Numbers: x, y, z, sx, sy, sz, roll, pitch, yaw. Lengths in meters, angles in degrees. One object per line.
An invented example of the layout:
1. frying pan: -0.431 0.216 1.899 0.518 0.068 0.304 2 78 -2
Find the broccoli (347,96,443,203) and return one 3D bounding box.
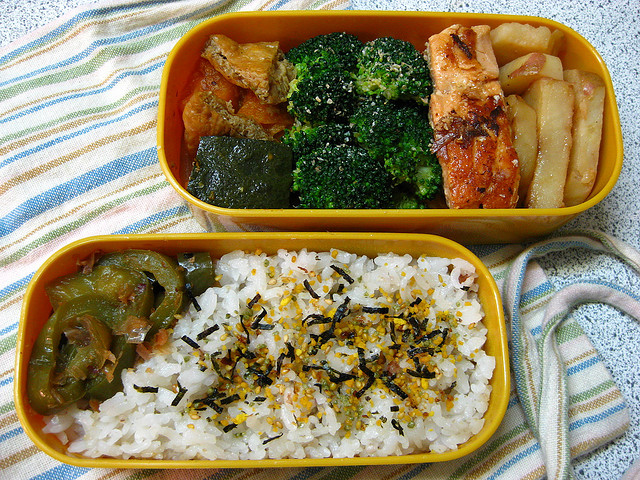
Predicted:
1. broccoli: 0.365 -0.442 3.801 0.403 0.157 0.559 -30 86 -26

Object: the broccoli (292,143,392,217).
1. broccoli: 0.112 -0.306 3.697 0.362 0.117 0.398 -5 86 4

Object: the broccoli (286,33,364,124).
1. broccoli: 0.040 -0.841 3.652 0.366 0.170 0.497 -4 86 -1

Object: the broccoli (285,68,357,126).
1. broccoli: 0.016 -0.738 3.721 0.306 0.149 0.265 9 79 3

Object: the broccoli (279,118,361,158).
1. broccoli: -0.062 -0.497 3.778 0.253 0.230 0.106 22 87 35

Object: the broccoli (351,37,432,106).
1. broccoli: 0.383 -0.863 3.642 0.321 0.132 0.371 9 90 -2
